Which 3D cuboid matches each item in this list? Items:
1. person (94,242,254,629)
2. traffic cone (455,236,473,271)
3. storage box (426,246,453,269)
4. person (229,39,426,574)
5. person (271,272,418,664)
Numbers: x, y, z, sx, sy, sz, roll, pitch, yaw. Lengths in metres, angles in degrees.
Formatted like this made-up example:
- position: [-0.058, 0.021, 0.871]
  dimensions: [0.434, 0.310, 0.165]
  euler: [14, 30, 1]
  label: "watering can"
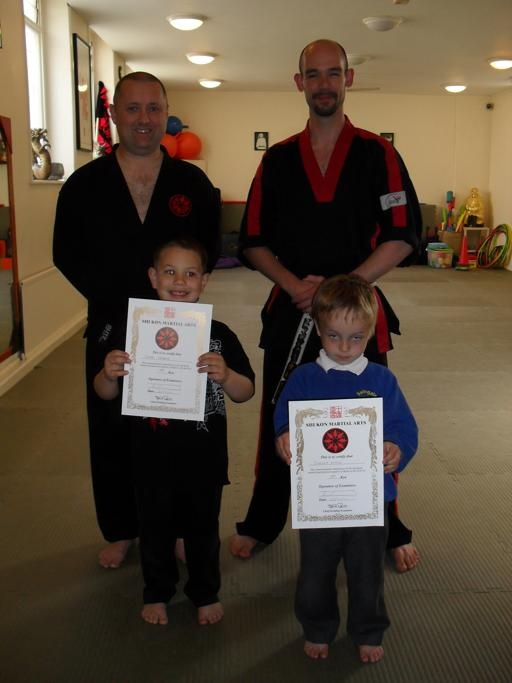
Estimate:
- position: [-0.204, 0.264, 1.356]
  dimensions: [0.400, 1.003, 0.327]
  euler: [-1, 9, -1]
  label: "person"
- position: [3.612, -1.551, 9.357]
  dimensions: [0.216, 0.625, 0.810]
  euler: [2, 9, 20]
  label: "traffic cone"
- position: [3.229, -1.450, 9.389]
  dimensions: [0.316, 0.259, 0.407]
  euler: [0, 7, 2]
  label: "storage box"
- position: [0.205, -0.069, 1.541]
  dimensions: [0.574, 1.515, 0.406]
  euler: [0, 6, 11]
  label: "person"
- position: [0.199, 0.318, 1.200]
  dimensions: [0.312, 0.919, 0.277]
  euler: [-1, 9, 1]
  label: "person"
